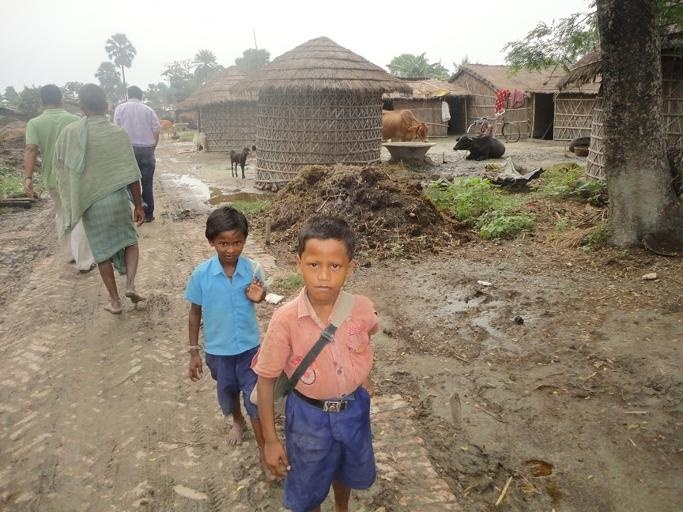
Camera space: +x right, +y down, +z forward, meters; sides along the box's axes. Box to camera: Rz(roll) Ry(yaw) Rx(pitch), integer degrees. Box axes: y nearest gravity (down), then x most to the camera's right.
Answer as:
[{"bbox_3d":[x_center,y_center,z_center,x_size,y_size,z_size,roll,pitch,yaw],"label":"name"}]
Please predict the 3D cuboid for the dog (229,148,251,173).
[{"bbox_3d":[-3.193,-2.940,16.225,0.479,0.901,2.316,-2,13,-12],"label":"dog"}]

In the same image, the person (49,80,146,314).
[{"bbox_3d":[-2.491,-0.572,5.421,0.832,2.348,0.649,-6,14,-27],"label":"person"}]

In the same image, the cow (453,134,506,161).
[{"bbox_3d":[4.292,-3.345,16.117,0.994,0.751,1.227,-5,14,-25],"label":"cow"}]
